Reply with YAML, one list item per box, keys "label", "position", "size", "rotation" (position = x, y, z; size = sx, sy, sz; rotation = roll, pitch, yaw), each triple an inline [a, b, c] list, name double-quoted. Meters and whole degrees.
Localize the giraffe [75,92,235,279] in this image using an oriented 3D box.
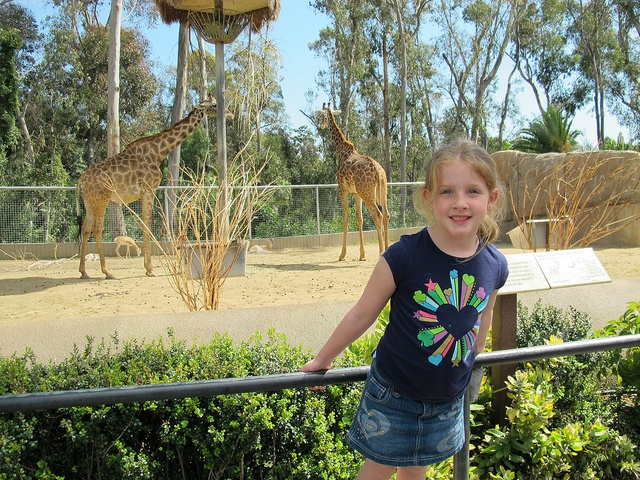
- label: "giraffe"
  position: [-3.243, -0.913, 9.891]
  size: [2.185, 3.157, 1.081]
  rotation: [-1, 1, -18]
